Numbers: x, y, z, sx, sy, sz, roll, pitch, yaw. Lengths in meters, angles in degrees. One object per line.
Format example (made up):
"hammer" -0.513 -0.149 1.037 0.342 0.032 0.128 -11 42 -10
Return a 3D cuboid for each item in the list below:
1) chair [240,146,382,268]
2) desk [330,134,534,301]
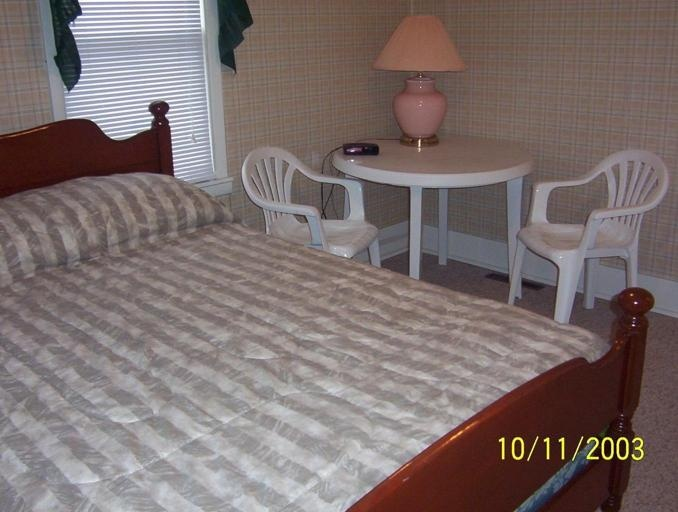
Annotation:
"chair" -0.180 -0.292 2.739 0.558 0.643 0.510 19 41 26
"desk" 0.488 -0.226 3.222 1.092 0.695 1.051 -17 29 -30
